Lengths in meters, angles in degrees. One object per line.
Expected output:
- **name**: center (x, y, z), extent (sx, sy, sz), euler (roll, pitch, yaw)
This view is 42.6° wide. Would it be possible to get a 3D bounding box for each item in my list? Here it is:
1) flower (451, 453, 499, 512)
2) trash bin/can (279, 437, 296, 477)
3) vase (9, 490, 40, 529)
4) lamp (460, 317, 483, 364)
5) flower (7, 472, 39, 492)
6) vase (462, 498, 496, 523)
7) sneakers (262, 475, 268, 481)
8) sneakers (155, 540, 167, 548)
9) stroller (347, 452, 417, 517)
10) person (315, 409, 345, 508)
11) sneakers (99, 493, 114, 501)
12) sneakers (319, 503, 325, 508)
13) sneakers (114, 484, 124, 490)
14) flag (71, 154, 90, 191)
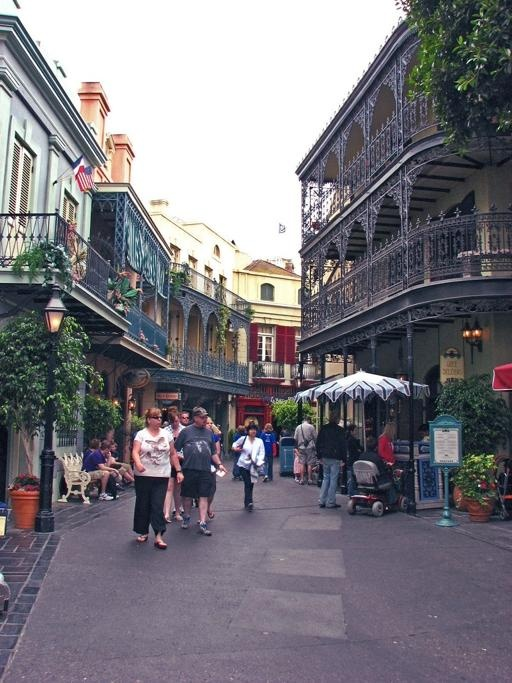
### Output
- **flower**: center (3.538, 2.306, 10.893), extent (0.771, 1.064, 0.723), euler (3, -9, -11)
- **trash bin/can**: center (1.044, 4.023, 22.903), extent (0.489, 1.339, 1.021), euler (1, -10, 2)
- **vase**: center (-3.410, 2.535, 10.002), extent (0.470, 0.627, 0.532), euler (1, -14, -4)
- **lamp**: center (4.513, -0.055, 14.001), extent (0.338, 0.973, 0.622), euler (1, -9, -1)
- **flower**: center (-3.508, 2.176, 10.111), extent (0.259, 0.187, 0.281), euler (4, 1, 24)
- **vase**: center (3.569, 2.691, 10.503), extent (0.419, 0.368, 0.527), euler (0, -11, 9)
- **sneakers**: center (0.268, 4.286, 20.701), extent (0.121, 0.176, 0.368), euler (2, -6, 0)
- **sneakers**: center (-1.106, 2.373, 7.715), extent (0.059, 0.074, 0.175), euler (3, -6, -32)
- **stroller**: center (2.111, 2.557, 11.833), extent (0.859, 1.383, 1.146), euler (-2, -4, 40)
- **person**: center (1.428, 2.277, 12.738), extent (0.568, 1.856, 0.837), euler (0, -9, 5)
- **sneakers**: center (-3.233, 3.347, 14.171), extent (0.311, 0.179, 0.122), euler (4, 1, 13)
- **sneakers**: center (1.257, 3.156, 12.698), extent (0.058, 0.077, 0.112), euler (0, -11, 1)
- **sneakers**: center (-3.446, 3.723, 16.716), extent (0.152, 0.221, 0.508), euler (-1, -16, -2)
- **flag**: center (-3.833, -3.699, 14.512), extent (0.351, 0.676, 0.882), euler (2, -11, -2)
